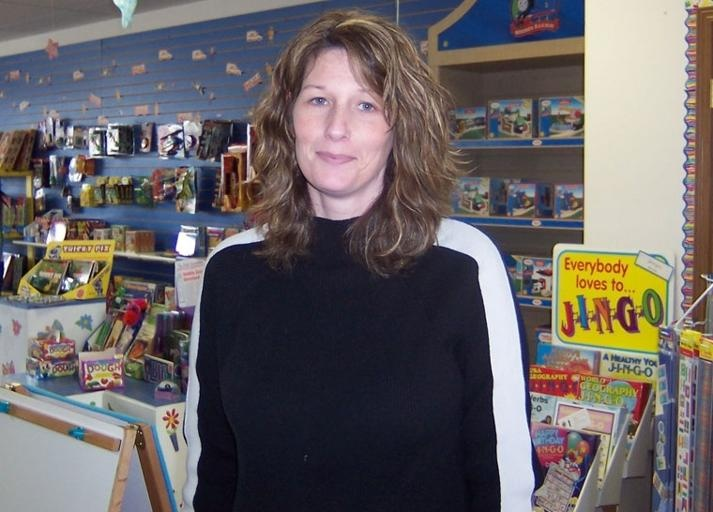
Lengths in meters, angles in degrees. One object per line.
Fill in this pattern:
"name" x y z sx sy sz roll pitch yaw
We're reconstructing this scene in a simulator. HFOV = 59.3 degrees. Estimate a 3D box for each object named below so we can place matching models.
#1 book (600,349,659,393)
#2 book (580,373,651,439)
"book" 1.256 0.530 2.870 0.203 0.117 0.028 6 -9 37
"book" 1.146 0.668 2.766 0.213 0.205 0.073 9 -17 26
